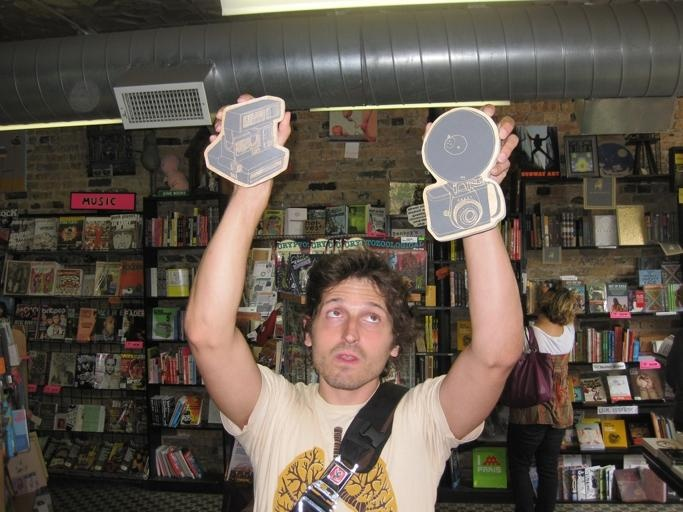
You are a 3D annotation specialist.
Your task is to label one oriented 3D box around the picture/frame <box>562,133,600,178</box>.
[{"bbox_3d":[2.222,-0.930,5.857,0.394,0.558,0.072,0,-10,4],"label":"picture/frame"}]
